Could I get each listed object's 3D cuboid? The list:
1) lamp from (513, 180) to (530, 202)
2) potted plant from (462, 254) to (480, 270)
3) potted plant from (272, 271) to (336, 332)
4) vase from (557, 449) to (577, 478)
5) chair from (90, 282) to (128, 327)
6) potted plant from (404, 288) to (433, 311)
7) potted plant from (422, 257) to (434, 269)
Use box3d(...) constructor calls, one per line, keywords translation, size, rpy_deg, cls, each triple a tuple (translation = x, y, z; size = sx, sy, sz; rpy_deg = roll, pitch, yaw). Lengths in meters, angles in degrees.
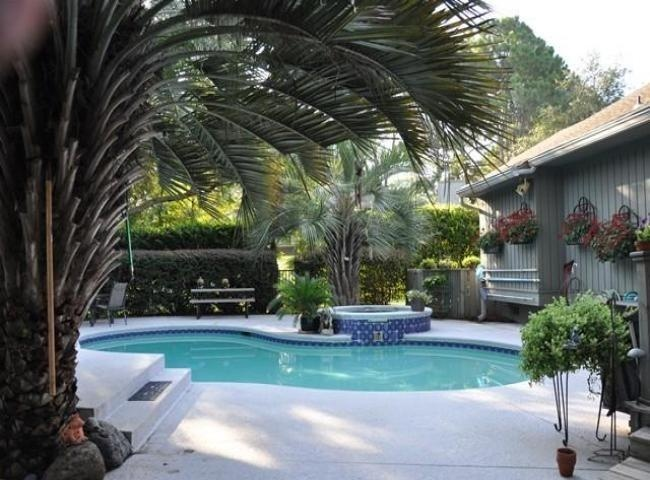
box3d(translation=(3.908, -0.950, 10.067), size=(0.258, 0.381, 0.137), rpy_deg=(-3, 18, 9), cls="lamp")
box3d(translation=(3.693, 0.582, 12.894), size=(0.355, 0.346, 0.371), rpy_deg=(3, -7, -32), cls="potted plant")
box3d(translation=(-0.433, 1.245, 10.037), size=(1.030, 1.025, 1.140), rpy_deg=(2, -9, -14), cls="potted plant")
box3d(translation=(1.832, 1.665, 3.845), size=(0.147, 0.206, 0.167), rpy_deg=(-1, -6, -2), cls="vase")
box3d(translation=(-4.716, 1.427, 11.183), size=(0.597, 0.981, 0.622), rpy_deg=(-3, -3, 24), cls="chair")
box3d(translation=(1.879, 1.213, 10.160), size=(0.419, 0.428, 0.803), rpy_deg=(-1, -1, 11), cls="potted plant")
box3d(translation=(2.621, 0.600, 12.811), size=(0.213, 0.300, 0.260), rpy_deg=(0, 6, 20), cls="potted plant")
